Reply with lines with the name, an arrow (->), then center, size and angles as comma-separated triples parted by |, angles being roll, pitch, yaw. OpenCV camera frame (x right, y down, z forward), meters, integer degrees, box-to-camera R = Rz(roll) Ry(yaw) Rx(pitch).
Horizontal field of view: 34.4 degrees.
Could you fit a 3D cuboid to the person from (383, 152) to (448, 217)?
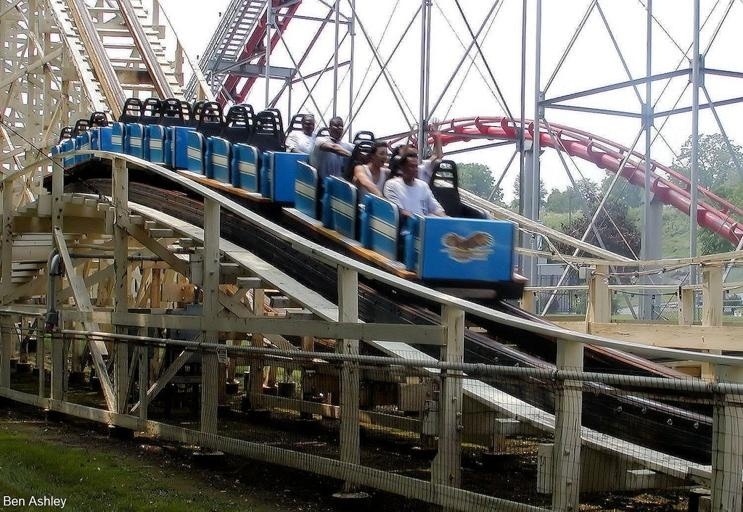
person -> 0.690, -1.173, 19.328 | 0.950, 1.087, 0.409 | 8, -11, -16
